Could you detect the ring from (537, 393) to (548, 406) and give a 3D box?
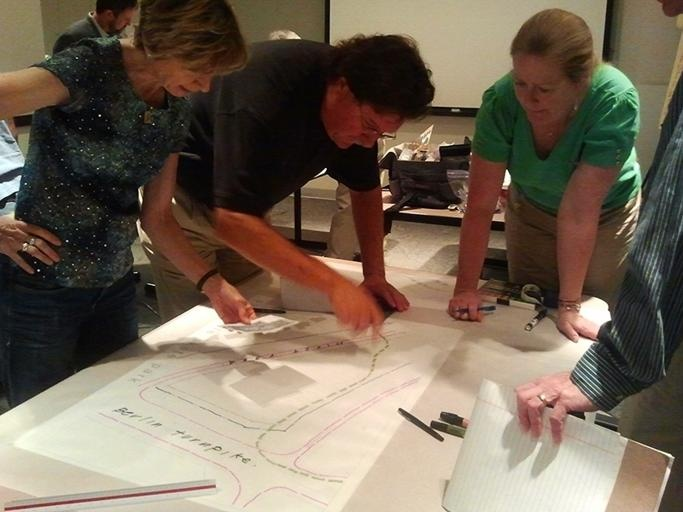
[{"bbox_3d":[0.409,0.293,1.111,0.025,0.008,0.023,49,7,-9],"label":"ring"}]

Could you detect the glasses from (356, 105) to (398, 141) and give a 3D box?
[{"bbox_3d":[0.129,-0.383,1.582,0.101,0.071,0.136,-1,-5,-14],"label":"glasses"}]

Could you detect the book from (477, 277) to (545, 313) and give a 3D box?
[{"bbox_3d":[0.577,0.130,1.891,0.127,0.027,0.121,14,26,35],"label":"book"}]

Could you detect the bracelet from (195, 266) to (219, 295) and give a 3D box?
[{"bbox_3d":[-0.398,0.077,1.680,0.019,0.067,0.067,41,38,4],"label":"bracelet"}]

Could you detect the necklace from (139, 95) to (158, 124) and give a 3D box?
[{"bbox_3d":[-0.507,-0.376,1.441,0.014,0.055,0.055,8,2,44],"label":"necklace"}]

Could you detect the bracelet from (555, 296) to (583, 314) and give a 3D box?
[{"bbox_3d":[0.723,0.158,1.730,0.049,0.046,0.047,3,-9,-34],"label":"bracelet"}]

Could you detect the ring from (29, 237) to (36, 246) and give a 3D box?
[{"bbox_3d":[-0.786,-0.037,1.387,0.013,0.017,0.006,-6,21,-11],"label":"ring"}]
